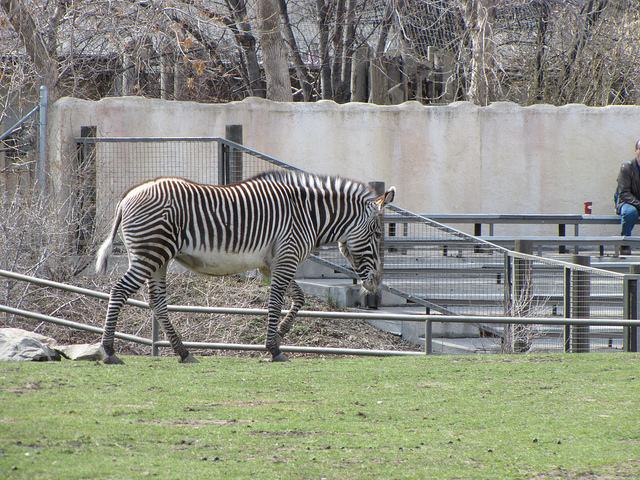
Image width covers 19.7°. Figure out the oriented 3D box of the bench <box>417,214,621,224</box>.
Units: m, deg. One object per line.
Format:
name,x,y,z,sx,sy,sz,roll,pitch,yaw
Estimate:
bench,3.867,-0.383,34.634,3.529,0.170,0.829,0,1,6
